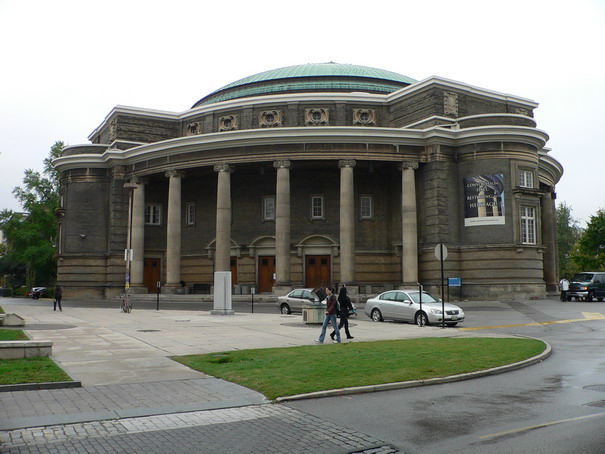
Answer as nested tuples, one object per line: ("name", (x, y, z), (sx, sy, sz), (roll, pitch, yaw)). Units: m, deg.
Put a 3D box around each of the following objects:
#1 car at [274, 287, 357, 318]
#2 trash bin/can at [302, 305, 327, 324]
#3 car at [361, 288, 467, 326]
("car", (-0.147, 4.236, 31.629), (2.164, 1.164, 4.357), (5, -10, -42))
("trash bin/can", (0.453, 4.026, 26.101), (1.085, 0.703, 1.078), (5, -7, -44))
("car", (5.173, 3.823, 26.739), (1.453, 1.662, 4.730), (8, -12, -40))
